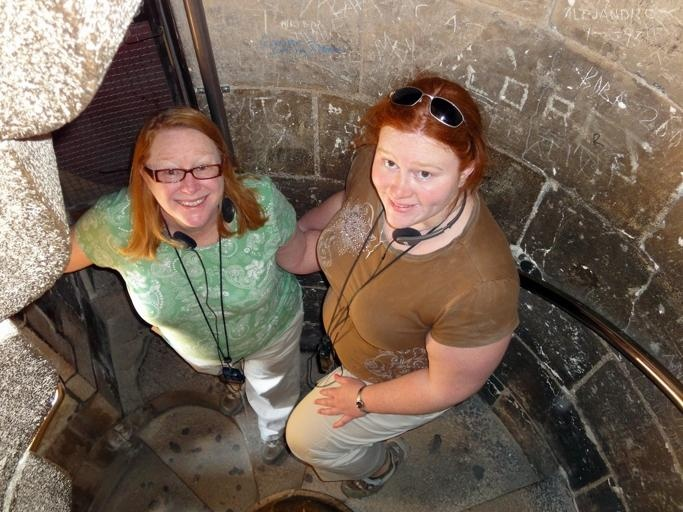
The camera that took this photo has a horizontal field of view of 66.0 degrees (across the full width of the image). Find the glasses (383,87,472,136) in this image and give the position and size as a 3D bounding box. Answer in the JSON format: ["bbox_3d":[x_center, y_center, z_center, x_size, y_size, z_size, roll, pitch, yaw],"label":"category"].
[{"bbox_3d":[0.315,-0.567,1.961,0.313,0.095,0.122,31,59,14],"label":"glasses"}]

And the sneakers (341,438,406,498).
[{"bbox_3d":[0.183,1.384,3.586,0.390,0.298,0.138,-39,76,12],"label":"sneakers"}]

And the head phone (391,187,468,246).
[{"bbox_3d":[0.352,-0.163,2.183,0.212,0.077,0.252,20,63,34],"label":"head phone"}]

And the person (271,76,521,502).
[{"bbox_3d":[0.232,0.141,2.615,0.799,2.224,1.086,-22,60,-12],"label":"person"}]

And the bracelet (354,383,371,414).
[{"bbox_3d":[0.095,0.718,2.618,0.075,0.128,0.125,21,74,9],"label":"bracelet"}]
